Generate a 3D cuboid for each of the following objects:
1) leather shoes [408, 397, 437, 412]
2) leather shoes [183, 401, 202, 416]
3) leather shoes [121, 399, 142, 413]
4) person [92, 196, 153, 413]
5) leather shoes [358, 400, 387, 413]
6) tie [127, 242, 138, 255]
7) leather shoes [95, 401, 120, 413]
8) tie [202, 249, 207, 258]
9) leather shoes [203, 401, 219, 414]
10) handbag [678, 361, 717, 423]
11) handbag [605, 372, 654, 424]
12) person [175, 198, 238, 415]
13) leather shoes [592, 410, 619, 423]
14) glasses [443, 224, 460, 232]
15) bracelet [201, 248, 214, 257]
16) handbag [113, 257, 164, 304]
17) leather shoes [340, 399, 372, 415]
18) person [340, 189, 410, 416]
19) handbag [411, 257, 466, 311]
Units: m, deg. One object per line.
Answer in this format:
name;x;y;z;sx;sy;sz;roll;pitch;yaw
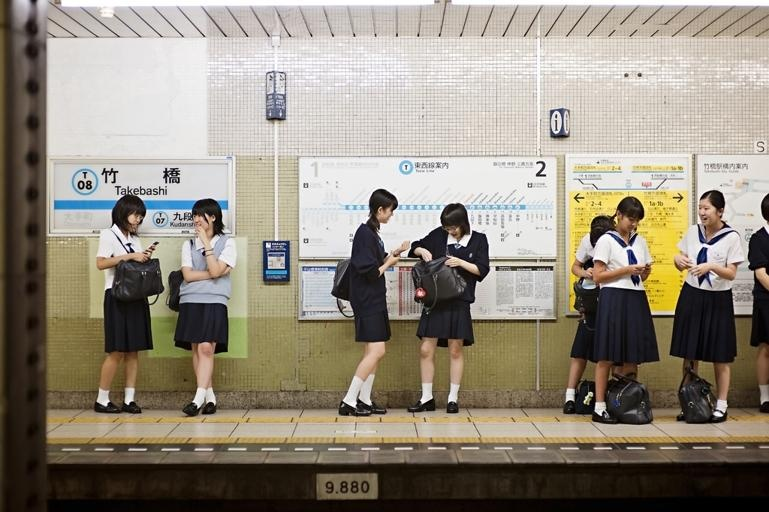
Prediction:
leather shoes;0.419;1.630;8.555;0.324;0.134;0.120;1;-3;-9
leather shoes;-2.050;1.624;8.379;0.204;0.156;0.137;-2;5;-28
leather shoes;-2.740;1.640;8.531;0.252;0.103;0.096;0;0;18
person;-2.831;0.519;8.489;0.643;2.350;0.443;-1;4;-21
leather shoes;-0.121;1.633;8.447;0.305;0.125;0.139;6;-2;-8
tie;-2.764;-0.088;8.501;0.051;0.046;0.177;6;42;-18
leather shoes;-2.995;1.637;8.495;0.264;0.100;0.114;1;-2;-2
tie;-1.930;-0.030;8.408;0.058;0.082;0.103;-1;1;-28
leather shoes;-1.896;1.640;8.500;0.063;0.072;0.192;2;6;0
handbag;3.273;1.424;8.184;0.360;0.569;0.348;2;4;23
handbag;2.503;1.465;8.229;0.399;0.486;0.668;-8;3;-8
person;-1.932;0.545;8.443;0.646;2.298;0.356;-1;4;-12
leather shoes;2.287;1.657;8.095;0.112;0.097;0.220;2;-4;-45
glasses;0.721;-0.304;8.423;0.159;0.095;0.134;3;5;30
bracelet;-1.896;-0.045;8.420;0.112;0.090;0.163;-2;5;-29
handbag;-2.621;0.236;8.408;0.370;0.537;0.685;-1;3;45
leather shoes;-0.309;1.603;8.319;0.375;0.152;0.139;1;-3;-6
person;-0.176;0.502;8.293;0.606;2.397;0.310;0;4;-3
handbag;0.598;0.288;8.273;0.441;0.407;0.233;-12;12;21
